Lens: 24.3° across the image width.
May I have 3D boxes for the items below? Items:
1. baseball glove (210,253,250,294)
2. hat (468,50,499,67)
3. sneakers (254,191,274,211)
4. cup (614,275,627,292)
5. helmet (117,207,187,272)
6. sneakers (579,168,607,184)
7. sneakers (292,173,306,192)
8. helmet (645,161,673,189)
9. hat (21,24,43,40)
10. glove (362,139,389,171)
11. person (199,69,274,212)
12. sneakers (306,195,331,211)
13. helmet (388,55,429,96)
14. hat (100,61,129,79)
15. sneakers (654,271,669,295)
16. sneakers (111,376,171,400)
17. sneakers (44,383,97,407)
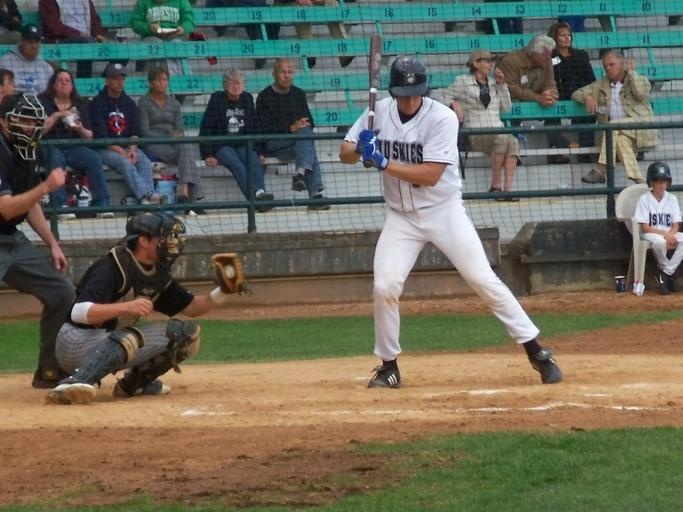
[{"bbox_3d":[-1.091,0.167,15.516,0.317,0.429,0.156,-5,-2,0],"label":"baseball glove"},{"bbox_3d":[1.832,-2.596,20.599,0.396,0.187,0.272,-7,2,6],"label":"hat"},{"bbox_3d":[-0.993,-0.702,20.261,0.130,0.147,0.368,-3,-29,-9],"label":"sneakers"},{"bbox_3d":[3.555,0.370,20.286,0.189,0.215,0.180,0,-7,0],"label":"cup"},{"bbox_3d":[-1.834,-0.191,15.318,0.613,0.471,0.476,8,0,-1],"label":"helmet"},{"bbox_3d":[3.350,-1.044,21.072,0.280,0.174,0.169,2,6,12],"label":"sneakers"},{"bbox_3d":[-0.542,-0.942,20.298,0.123,0.109,0.260,0,-18,-1],"label":"sneakers"},{"bbox_3d":[4.036,-1.060,20.157,0.257,0.294,0.340,0,6,2],"label":"helmet"},{"bbox_3d":[-3.926,-2.834,20.084,0.249,0.187,0.244,-5,5,-13],"label":"hat"},{"bbox_3d":[0.316,-0.984,15.448,0.221,0.289,0.278,-6,5,-12],"label":"glove"},{"bbox_3d":[-1.374,-1.451,20.213,0.883,1.848,0.651,-4,6,4],"label":"person"},{"bbox_3d":[-0.273,-0.659,20.428,0.314,0.290,0.145,-3,16,-9],"label":"sneakers"},{"bbox_3d":[0.652,-1.786,15.526,0.452,0.308,0.557,-7,26,-6],"label":"helmet"},{"bbox_3d":[-2.885,-2.341,20.119,0.328,0.226,0.438,-7,6,-35],"label":"hat"},{"bbox_3d":[4.087,0.348,20.026,0.112,0.289,0.131,-7,-9,-8],"label":"sneakers"},{"bbox_3d":[-1.980,1.296,15.669,0.579,0.219,0.198,-6,6,-11],"label":"sneakers"},{"bbox_3d":[-2.576,1.331,15.096,0.385,0.148,0.230,-5,-20,11],"label":"sneakers"}]
